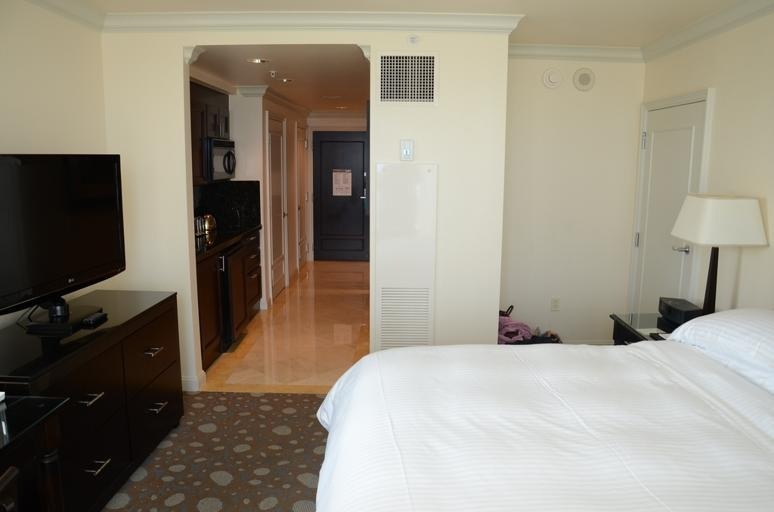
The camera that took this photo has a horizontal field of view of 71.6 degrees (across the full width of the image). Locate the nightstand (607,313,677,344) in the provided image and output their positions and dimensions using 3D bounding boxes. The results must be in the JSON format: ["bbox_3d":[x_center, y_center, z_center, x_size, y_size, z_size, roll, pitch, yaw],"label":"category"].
[{"bbox_3d":[1.946,0.598,4.085,0.359,0.328,0.261,1,25,10],"label":"nightstand"}]

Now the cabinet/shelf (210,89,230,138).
[{"bbox_3d":[-1.793,-1.519,5.714,0.187,0.507,0.560,0,12,-4],"label":"cabinet/shelf"}]

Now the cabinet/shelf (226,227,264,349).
[{"bbox_3d":[-1.492,0.344,5.569,0.393,0.614,1.076,-3,23,-4],"label":"cabinet/shelf"}]

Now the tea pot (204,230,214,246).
[{"bbox_3d":[-1.763,-0.169,5.287,0.130,0.142,0.135,2,16,-1],"label":"tea pot"}]

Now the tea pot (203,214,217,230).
[{"bbox_3d":[-1.894,-0.360,5.710,0.082,0.166,0.275,2,10,-4],"label":"tea pot"}]

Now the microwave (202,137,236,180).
[{"bbox_3d":[-1.755,-1.000,5.536,0.295,0.334,0.527,0,13,-5],"label":"microwave"}]

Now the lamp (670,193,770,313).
[{"bbox_3d":[2.330,0.000,3.760,0.541,0.829,0.287,3,10,1],"label":"lamp"}]
